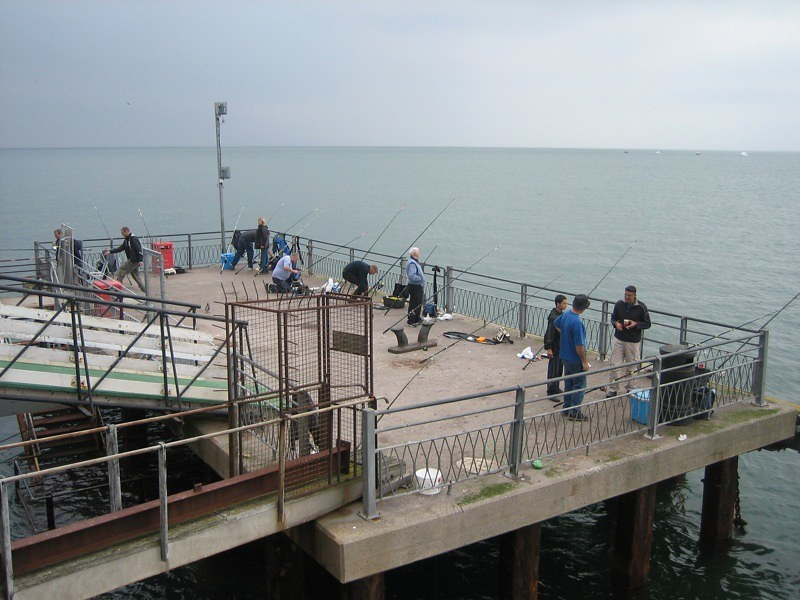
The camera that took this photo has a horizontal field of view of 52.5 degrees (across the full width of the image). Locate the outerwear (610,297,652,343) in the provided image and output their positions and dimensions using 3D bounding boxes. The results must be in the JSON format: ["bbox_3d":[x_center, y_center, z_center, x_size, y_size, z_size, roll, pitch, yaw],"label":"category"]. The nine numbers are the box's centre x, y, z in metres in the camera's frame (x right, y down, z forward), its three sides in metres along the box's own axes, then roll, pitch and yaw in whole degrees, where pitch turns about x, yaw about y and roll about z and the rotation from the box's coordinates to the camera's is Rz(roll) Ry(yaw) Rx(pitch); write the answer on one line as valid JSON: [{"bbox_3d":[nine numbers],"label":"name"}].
[{"bbox_3d":[4.102,0.415,14.442,0.623,0.774,0.444,1,11,11],"label":"outerwear"}]

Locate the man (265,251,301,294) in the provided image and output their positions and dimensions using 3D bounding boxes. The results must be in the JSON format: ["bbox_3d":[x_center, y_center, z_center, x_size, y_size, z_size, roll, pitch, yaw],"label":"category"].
[{"bbox_3d":[-3.030,-0.697,21.659,0.855,1.142,0.778,13,-1,-22],"label":"man"}]

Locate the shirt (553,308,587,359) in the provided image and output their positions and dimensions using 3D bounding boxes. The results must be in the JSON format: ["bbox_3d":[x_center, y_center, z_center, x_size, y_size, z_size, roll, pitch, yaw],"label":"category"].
[{"bbox_3d":[2.871,0.574,13.551,0.344,0.799,0.922,-4,21,-17],"label":"shirt"}]

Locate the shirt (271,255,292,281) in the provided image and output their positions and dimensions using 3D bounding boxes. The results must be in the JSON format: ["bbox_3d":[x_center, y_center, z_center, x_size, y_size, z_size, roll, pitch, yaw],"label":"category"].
[{"bbox_3d":[-3.170,-0.843,21.905,0.440,0.641,0.696,4,17,-28],"label":"shirt"}]

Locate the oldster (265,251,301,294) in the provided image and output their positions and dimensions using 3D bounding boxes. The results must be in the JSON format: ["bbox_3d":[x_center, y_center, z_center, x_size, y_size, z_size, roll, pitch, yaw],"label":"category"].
[{"bbox_3d":[-3.039,-0.714,21.654,0.878,1.185,0.731,13,-2,-14],"label":"oldster"}]

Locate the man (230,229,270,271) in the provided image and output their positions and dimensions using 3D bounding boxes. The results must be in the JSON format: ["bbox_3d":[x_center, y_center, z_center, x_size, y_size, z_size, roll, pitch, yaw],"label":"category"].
[{"bbox_3d":[-4.666,-1.622,25.313,0.926,1.503,1.707,-6,11,-25],"label":"man"}]

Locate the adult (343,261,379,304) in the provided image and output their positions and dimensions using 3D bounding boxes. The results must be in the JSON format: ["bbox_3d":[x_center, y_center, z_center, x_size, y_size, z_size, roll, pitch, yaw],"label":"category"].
[{"bbox_3d":[-1.043,-0.501,20.137,0.801,1.030,0.518,19,19,9],"label":"adult"}]

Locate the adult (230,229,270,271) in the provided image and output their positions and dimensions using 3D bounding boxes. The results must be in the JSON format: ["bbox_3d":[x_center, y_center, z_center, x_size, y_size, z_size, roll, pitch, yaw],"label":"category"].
[{"bbox_3d":[-4.605,-1.623,25.312,0.889,1.503,1.719,-8,12,-35],"label":"adult"}]

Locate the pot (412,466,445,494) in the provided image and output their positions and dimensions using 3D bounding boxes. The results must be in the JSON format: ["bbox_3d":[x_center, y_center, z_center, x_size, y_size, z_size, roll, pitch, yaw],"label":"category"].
[{"bbox_3d":[0.406,2.536,11.295,0.416,0.312,0.380,-1,10,0],"label":"pot"}]

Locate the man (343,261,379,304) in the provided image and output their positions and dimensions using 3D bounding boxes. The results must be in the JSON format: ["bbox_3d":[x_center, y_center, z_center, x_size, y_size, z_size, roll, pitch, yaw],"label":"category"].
[{"bbox_3d":[-1.014,-0.494,20.141,0.854,1.045,0.519,20,20,13],"label":"man"}]
